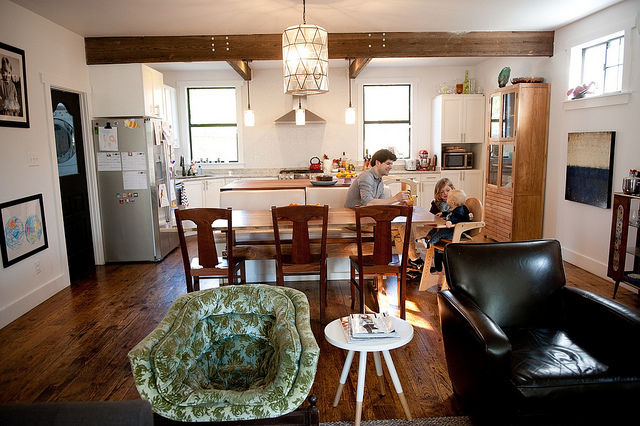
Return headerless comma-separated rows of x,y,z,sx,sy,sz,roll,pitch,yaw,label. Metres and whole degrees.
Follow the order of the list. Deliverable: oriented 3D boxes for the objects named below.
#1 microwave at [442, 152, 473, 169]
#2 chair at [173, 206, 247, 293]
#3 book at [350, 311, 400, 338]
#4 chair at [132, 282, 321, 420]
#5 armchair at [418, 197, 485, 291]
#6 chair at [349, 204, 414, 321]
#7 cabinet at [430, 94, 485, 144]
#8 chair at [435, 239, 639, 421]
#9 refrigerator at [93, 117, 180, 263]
2.617,-1.026,8.203,0.499,0.312,0.317,0,7,-4,microwave
-1.107,0.428,4.557,0.730,1.135,0.771,-5,15,-17,chair
0.401,0.833,3.259,0.343,0.066,0.313,-3,12,-2,book
-0.589,0.889,2.831,1.138,0.653,0.647,-4,12,-4,chair
1.492,0.247,5.051,0.695,1.249,0.639,-3,8,-19,armchair
0.640,0.437,4.566,0.686,1.219,0.715,-2,13,4,chair
2.683,-1.755,8.437,0.928,1.157,0.678,-2,9,0,cabinet
1.603,0.851,3.196,1.278,1.142,0.865,-4,13,-3,chair
-2.759,-0.353,6.340,1.006,2.091,0.606,-5,13,-9,refrigerator
